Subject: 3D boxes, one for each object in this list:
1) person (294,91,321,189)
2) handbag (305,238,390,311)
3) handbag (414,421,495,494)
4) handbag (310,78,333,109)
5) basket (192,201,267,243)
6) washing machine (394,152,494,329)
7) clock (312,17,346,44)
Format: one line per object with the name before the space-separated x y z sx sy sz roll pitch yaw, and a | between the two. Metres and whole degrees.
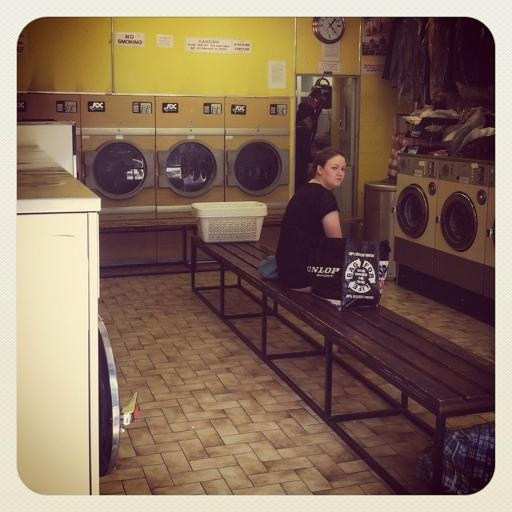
person | 0.767 -1.823 6.610 0.387 1.693 0.339 1 -15 4
handbag | 0.521 0.104 2.598 0.364 0.420 0.156 1 6 13
handbag | 0.853 0.848 1.828 0.372 0.246 0.171 -8 13 -38
handbag | 0.975 -2.362 6.428 0.261 0.453 0.390 0 14 -2
basket | -0.272 -0.341 4.540 0.581 0.321 0.445 0 2 -8
washing machine | 1.908 -0.163 4.423 0.569 1.444 1.497 -1 7 -12
clock | 1.025 -3.146 6.228 0.514 0.359 0.086 -2 9 -13
